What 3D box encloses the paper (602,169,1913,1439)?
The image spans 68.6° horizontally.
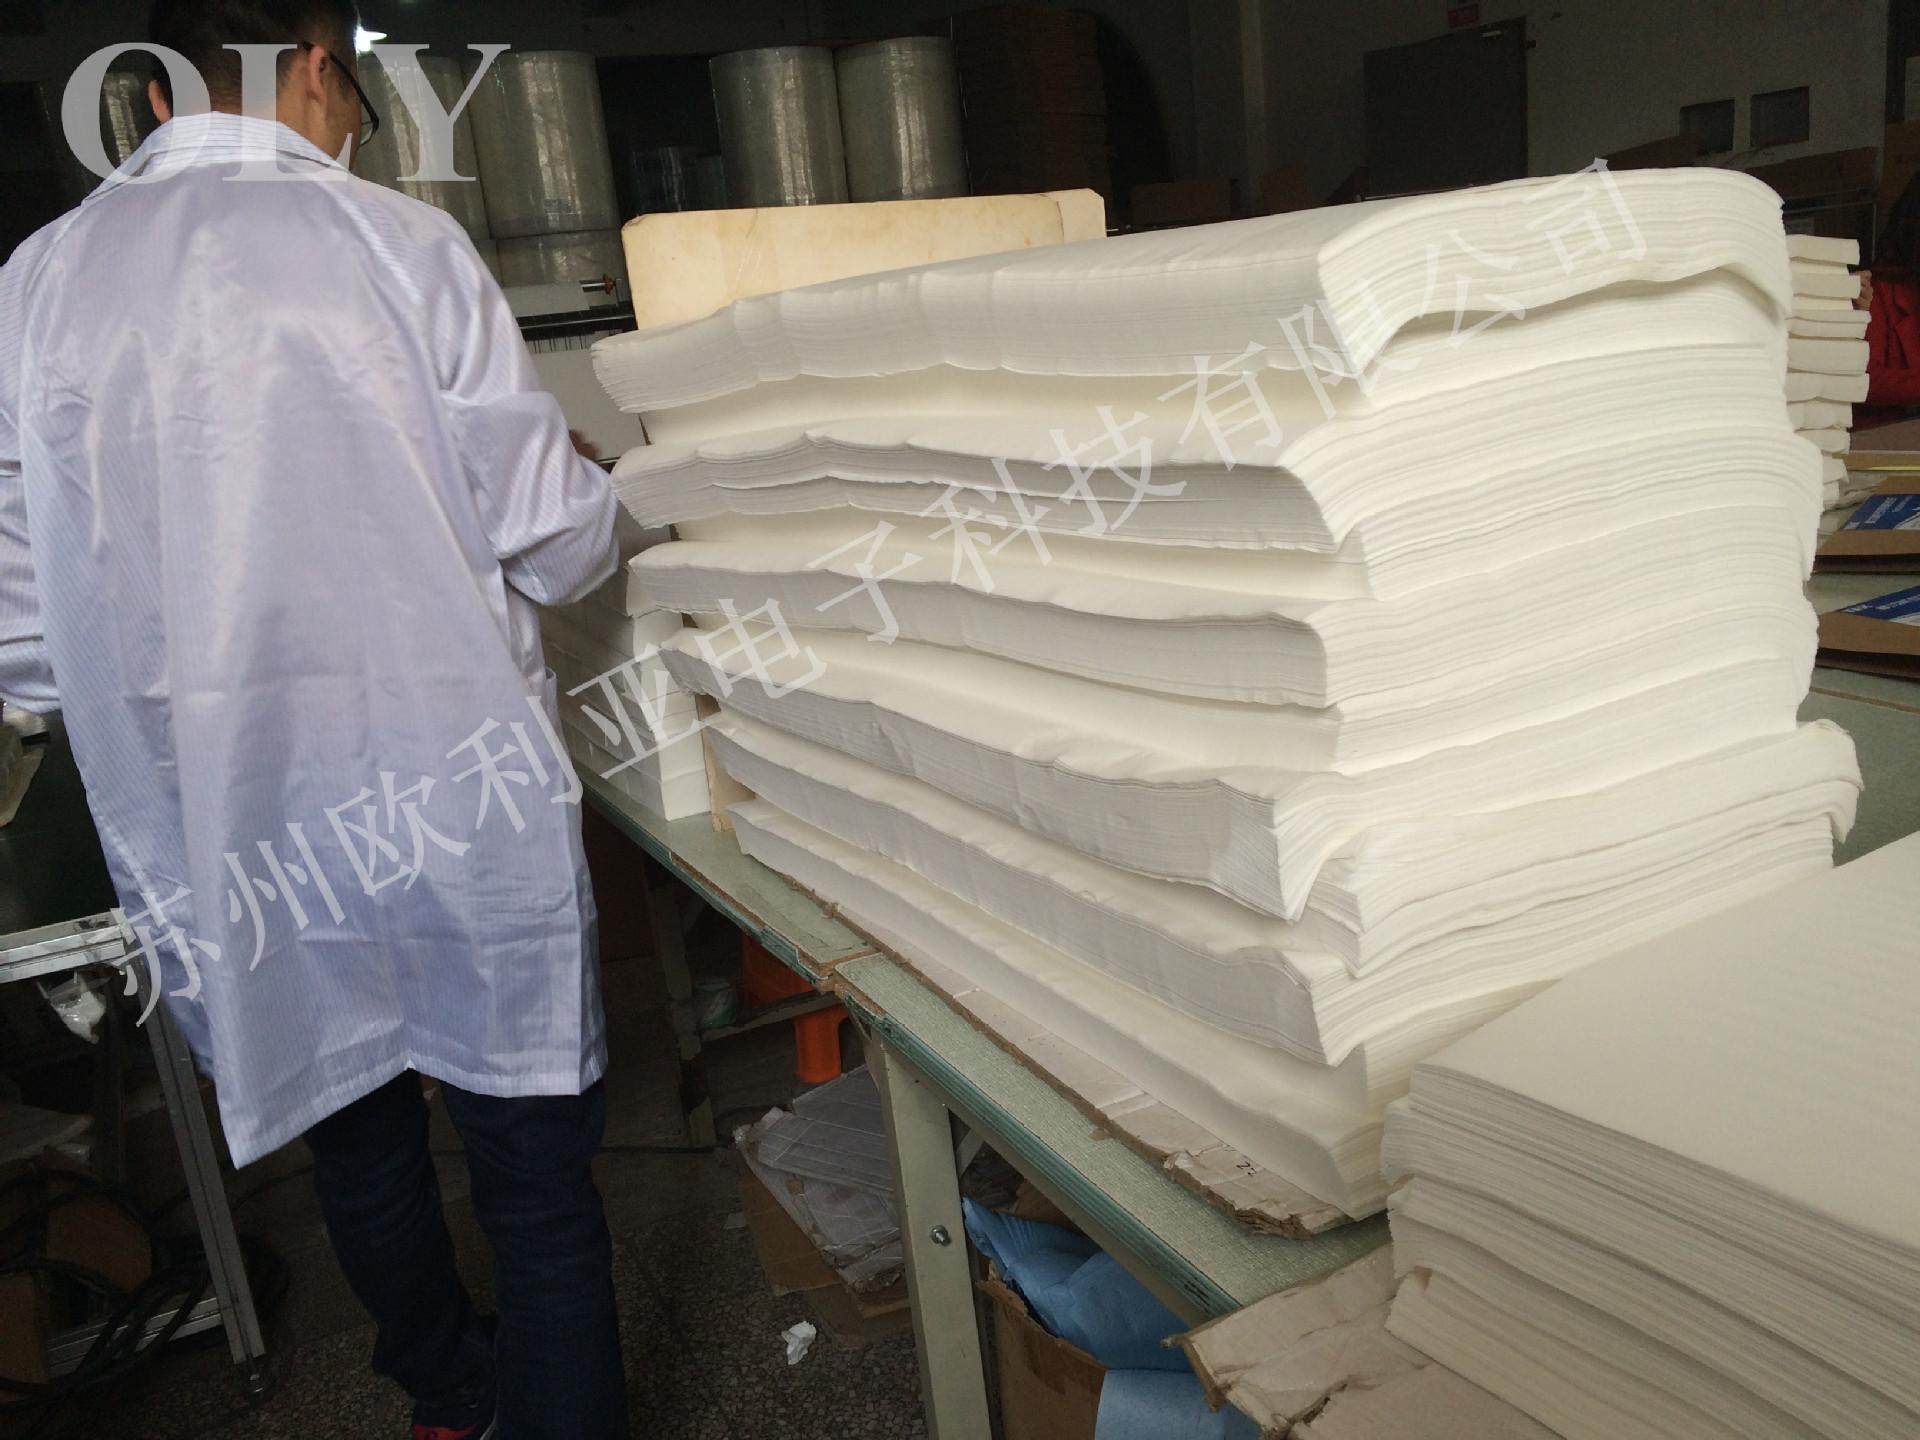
[{"bbox_3d":[0.265,-0.071,1.477,0.920,0.719,1.202,-17,27,-27],"label":"paper"}]
